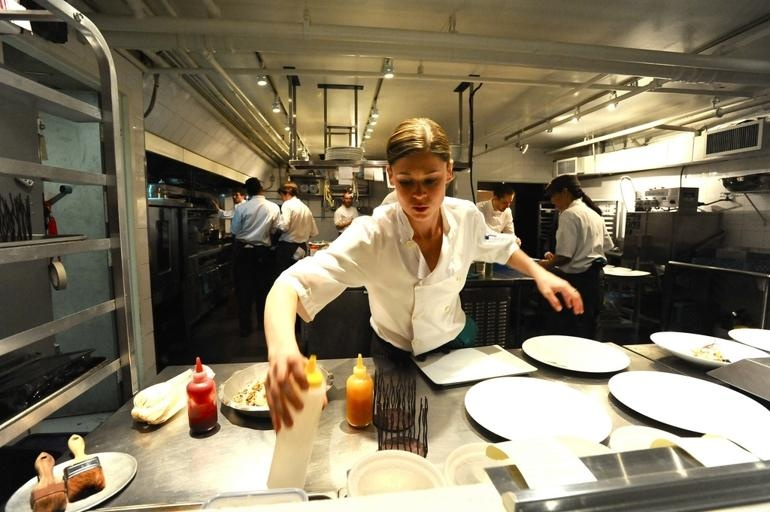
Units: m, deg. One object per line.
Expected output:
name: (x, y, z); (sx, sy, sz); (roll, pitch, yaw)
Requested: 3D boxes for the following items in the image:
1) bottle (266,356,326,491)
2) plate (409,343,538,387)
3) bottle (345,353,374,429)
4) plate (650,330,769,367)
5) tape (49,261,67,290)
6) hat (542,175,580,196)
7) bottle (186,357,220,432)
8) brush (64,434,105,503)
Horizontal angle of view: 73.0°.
bottle: (-0.434, 0.823, 2.562); (0.269, 0.624, 0.138); (-6, 9, -41)
plate: (0.557, 0.673, 3.216); (0.717, 0.172, 0.284); (-1, 6, -10)
bottle: (-0.145, 0.744, 2.934); (0.166, 0.396, 0.157); (0, 7, 0)
plate: (2.048, 0.593, 3.267); (0.670, 0.152, 0.334); (2, 6, 18)
tape: (-2.038, 0.123, 3.230); (0.048, 0.164, 0.164); (-13, 39, -22)
hat: (1.834, -0.723, 5.380); (0.219, 0.243, 0.292); (2, 10, -3)
bottle: (-1.014, 0.771, 2.885); (0.158, 0.416, 0.103); (-1, 7, -7)
brush: (-1.635, 1.079, 2.785); (0.189, 0.130, 0.385); (-13, 35, -34)
